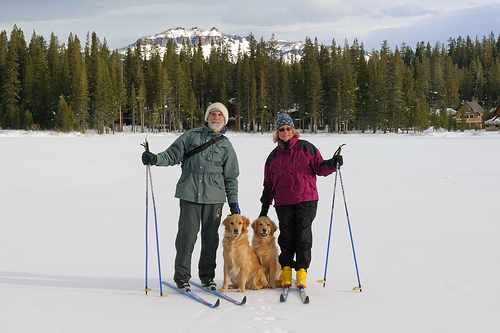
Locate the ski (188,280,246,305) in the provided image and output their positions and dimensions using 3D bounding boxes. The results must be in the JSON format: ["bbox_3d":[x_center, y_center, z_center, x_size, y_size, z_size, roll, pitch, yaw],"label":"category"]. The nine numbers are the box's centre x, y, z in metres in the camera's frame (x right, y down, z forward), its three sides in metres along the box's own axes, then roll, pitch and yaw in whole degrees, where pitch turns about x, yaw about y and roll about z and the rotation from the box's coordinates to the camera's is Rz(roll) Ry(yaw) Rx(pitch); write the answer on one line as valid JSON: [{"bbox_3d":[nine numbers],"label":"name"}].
[{"bbox_3d":[-1.668,6.561,37.799,2.186,0.302,0.164,27,49,21],"label":"ski"}]
